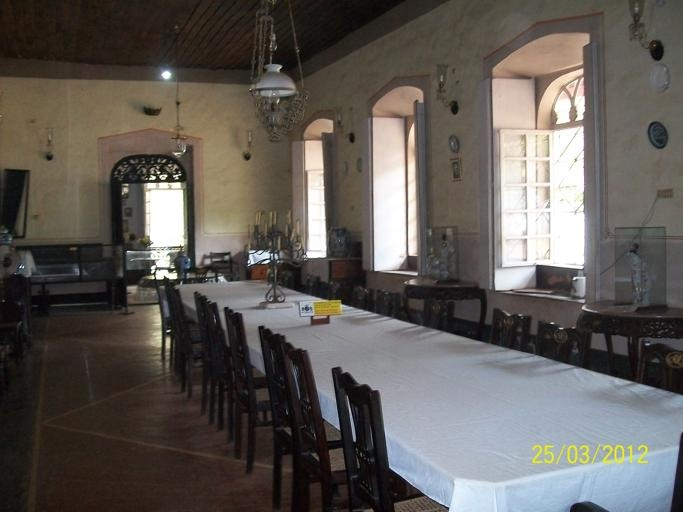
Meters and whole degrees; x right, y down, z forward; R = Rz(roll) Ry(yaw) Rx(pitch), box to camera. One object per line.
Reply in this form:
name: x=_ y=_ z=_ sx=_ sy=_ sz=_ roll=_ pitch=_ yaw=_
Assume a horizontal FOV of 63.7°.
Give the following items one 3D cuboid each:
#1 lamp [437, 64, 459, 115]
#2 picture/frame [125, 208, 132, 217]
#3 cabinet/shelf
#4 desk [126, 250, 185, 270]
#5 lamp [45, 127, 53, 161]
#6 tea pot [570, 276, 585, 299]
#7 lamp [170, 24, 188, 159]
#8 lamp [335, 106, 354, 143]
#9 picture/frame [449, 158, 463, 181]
lamp: x=1.327 y=-2.112 z=7.002 sx=0.126 sy=0.665 sz=0.446 roll=-3 pitch=7 yaw=-25
picture/frame: x=-4.638 y=-0.950 z=11.921 sx=0.024 sy=0.214 sz=0.199 roll=-4 pitch=-4 yaw=26
cabinet/shelf: x=-4.777 y=0.392 z=9.823 sx=1.599 sy=1.181 sz=1.752 roll=-4 pitch=7 yaw=-33
desk: x=-4.085 y=0.091 z=11.808 sx=1.100 sy=0.426 sz=0.205 roll=0 pitch=6 yaw=10
lamp: x=-5.518 y=-2.105 z=10.371 sx=0.155 sy=0.613 sz=0.070 roll=-4 pitch=7 yaw=-30
tea pot: x=2.446 y=0.327 z=5.649 sx=0.187 sy=0.211 sz=0.142 roll=1 pitch=0 yaw=12
lamp: x=-3.233 y=-3.010 z=10.872 sx=0.327 sy=1.923 sz=0.336 roll=-11 pitch=29 yaw=-36
lamp: x=0.094 y=-2.292 z=9.543 sx=0.130 sy=0.573 sz=0.570 roll=-6 pitch=15 yaw=-30
picture/frame: x=1.459 y=-1.099 z=6.949 sx=0.039 sy=0.405 sz=0.273 roll=-3 pitch=5 yaw=-26
